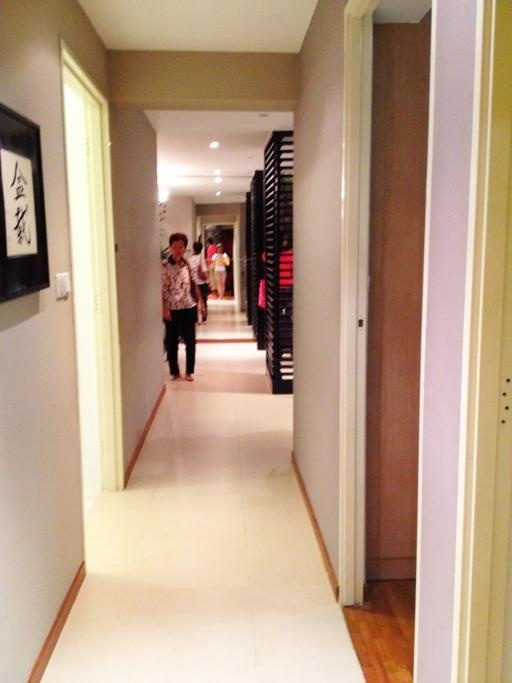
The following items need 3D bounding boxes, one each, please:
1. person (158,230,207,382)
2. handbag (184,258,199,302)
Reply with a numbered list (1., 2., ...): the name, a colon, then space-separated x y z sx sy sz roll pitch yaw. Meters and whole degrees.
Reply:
1. person: -0.785 -0.351 5.708 0.404 1.538 0.732 -1 6 -11
2. handbag: -0.662 -0.618 5.542 0.188 0.369 0.091 -4 -2 -35
